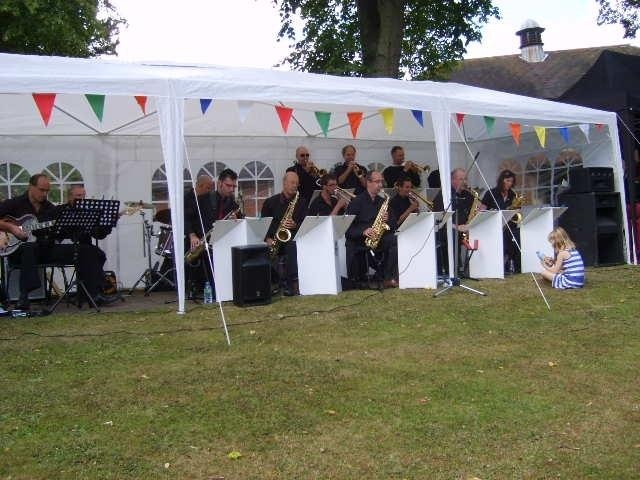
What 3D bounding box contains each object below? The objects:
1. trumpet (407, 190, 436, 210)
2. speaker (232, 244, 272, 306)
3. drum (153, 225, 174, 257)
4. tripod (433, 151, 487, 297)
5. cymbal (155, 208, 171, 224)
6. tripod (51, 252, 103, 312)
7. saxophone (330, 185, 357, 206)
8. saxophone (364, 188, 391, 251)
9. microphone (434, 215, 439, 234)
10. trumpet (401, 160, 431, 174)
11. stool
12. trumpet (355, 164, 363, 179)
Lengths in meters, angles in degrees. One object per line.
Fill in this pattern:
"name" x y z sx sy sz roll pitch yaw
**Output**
"trumpet" 1.795 -0.708 10.013 0.487 0.138 0.180 35 -45 2
"speaker" -0.943 0.491 7.746 0.530 0.819 0.325 -3 12 -11
"drum" -2.475 -0.004 8.724 0.291 0.331 0.272 22 -8 -21
"tripod" 2.318 -0.180 9.545 0.891 2.699 0.865 -2 9 -23
"cymbal" -2.395 -0.348 8.557 0.213 0.268 0.471 -5 12 -21
"tripod" -3.472 0.556 7.864 0.746 0.918 0.767 -3 -2 -6
"saxophone" 0.403 -0.758 9.314 0.312 0.115 0.295 13 2 -36
"saxophone" 0.897 -0.292 8.911 0.400 1.129 0.388 -4 -38 20
"microphone" 1.759 -0.250 8.434 0.069 0.201 0.145 7 3 -4
"trumpet" 1.963 -1.515 11.632 0.618 0.263 0.289 15 -14 13
"stool" -3.847 0.521 7.861 0.872 1.208 0.900 4 0 -3
"trumpet" 0.690 -1.282 10.428 0.093 0.270 0.198 -28 -8 33
